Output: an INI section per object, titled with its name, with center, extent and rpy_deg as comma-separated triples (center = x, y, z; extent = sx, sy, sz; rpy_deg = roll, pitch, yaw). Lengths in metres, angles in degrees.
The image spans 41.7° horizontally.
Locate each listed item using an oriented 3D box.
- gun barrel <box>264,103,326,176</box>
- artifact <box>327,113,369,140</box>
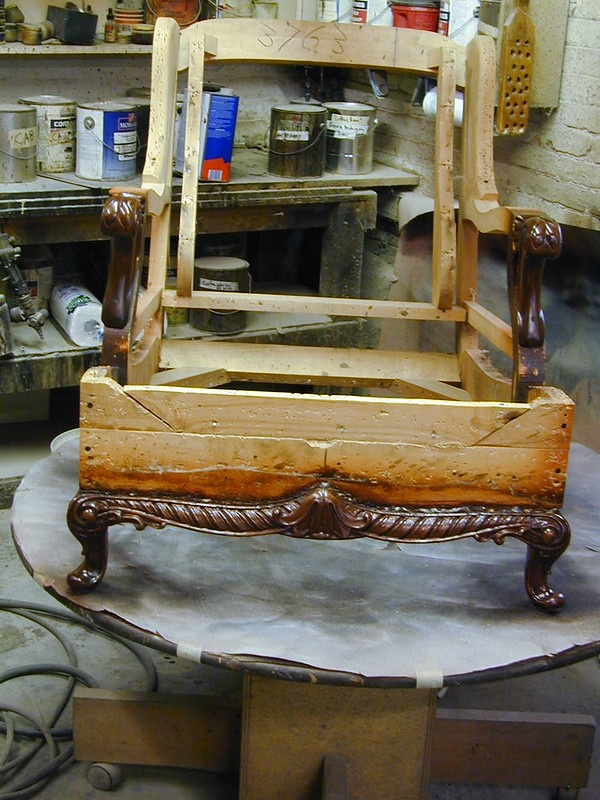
[gun barrel]
center = -0.020, -0.848, 2.617
extent = 0.214, 0.196, 0.195
rpy_deg = 8, 31, 5
[artifact]
center = 0.164, -0.895, 2.589
extent = 0.103, 0.056, 0.091
rpy_deg = 5, 37, 1
